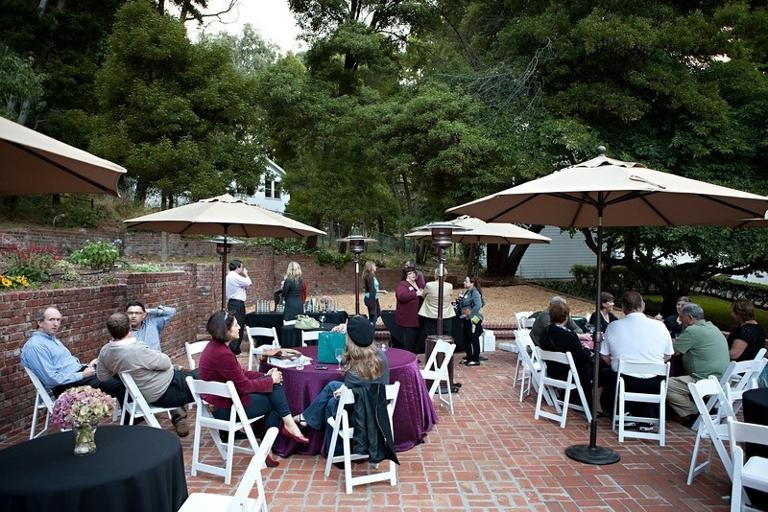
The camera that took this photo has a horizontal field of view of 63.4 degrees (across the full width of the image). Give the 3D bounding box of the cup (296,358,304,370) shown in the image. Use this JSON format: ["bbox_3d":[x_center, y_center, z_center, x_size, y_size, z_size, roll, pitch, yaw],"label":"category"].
[{"bbox_3d":[-1.421,1.839,10.635,0.145,0.159,0.154,0,-5,0],"label":"cup"}]

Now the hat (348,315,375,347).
[{"bbox_3d":[-0.361,1.173,9.773,0.423,0.466,0.149,5,-15,-27],"label":"hat"}]

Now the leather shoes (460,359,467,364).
[{"bbox_3d":[1.932,2.556,15.076,0.092,0.105,0.160,0,-8,-1],"label":"leather shoes"}]

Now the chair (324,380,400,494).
[{"bbox_3d":[-0.396,2.831,9.775,1.072,1.579,0.633,0,0,-8],"label":"chair"}]

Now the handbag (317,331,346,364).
[{"bbox_3d":[-0.892,1.594,10.747,0.592,0.589,0.255,2,3,0],"label":"handbag"}]

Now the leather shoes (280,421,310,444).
[{"bbox_3d":[-1.441,2.915,10.281,0.585,0.260,0.200,19,-5,4],"label":"leather shoes"}]

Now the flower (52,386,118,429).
[{"bbox_3d":[-3.899,2.059,8.228,0.700,0.556,0.729,3,-13,-44],"label":"flower"}]

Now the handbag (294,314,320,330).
[{"bbox_3d":[-1.663,1.434,13.519,0.391,0.177,0.341,5,-3,-34],"label":"handbag"}]

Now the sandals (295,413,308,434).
[{"bbox_3d":[-1.356,2.755,10.224,0.110,0.371,0.138,-23,14,-15],"label":"sandals"}]

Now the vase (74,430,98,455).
[{"bbox_3d":[-3.891,2.424,8.190,0.302,0.340,0.315,-2,4,-22],"label":"vase"}]

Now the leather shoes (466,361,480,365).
[{"bbox_3d":[2.141,2.551,14.873,0.251,0.109,0.114,3,-6,-4],"label":"leather shoes"}]
